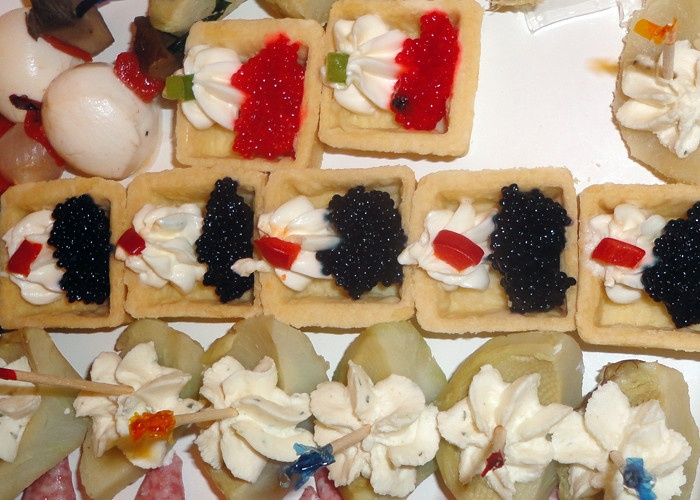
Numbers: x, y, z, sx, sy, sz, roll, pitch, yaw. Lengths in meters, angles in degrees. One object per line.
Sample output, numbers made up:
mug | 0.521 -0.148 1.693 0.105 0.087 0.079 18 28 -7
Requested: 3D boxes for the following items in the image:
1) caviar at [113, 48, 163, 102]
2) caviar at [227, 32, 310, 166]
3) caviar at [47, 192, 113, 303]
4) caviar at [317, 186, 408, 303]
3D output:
caviar | -0.615 -0.490 2.218 0.110 0.038 0.147 -42 101 -16
caviar | -0.225 -0.400 2.095 0.194 0.078 0.321 2 94 14
caviar | -0.744 -0.003 2.102 0.171 0.087 0.301 0 90 -1
caviar | 0.025 -0.023 2.078 0.246 0.117 0.274 -17 84 1
